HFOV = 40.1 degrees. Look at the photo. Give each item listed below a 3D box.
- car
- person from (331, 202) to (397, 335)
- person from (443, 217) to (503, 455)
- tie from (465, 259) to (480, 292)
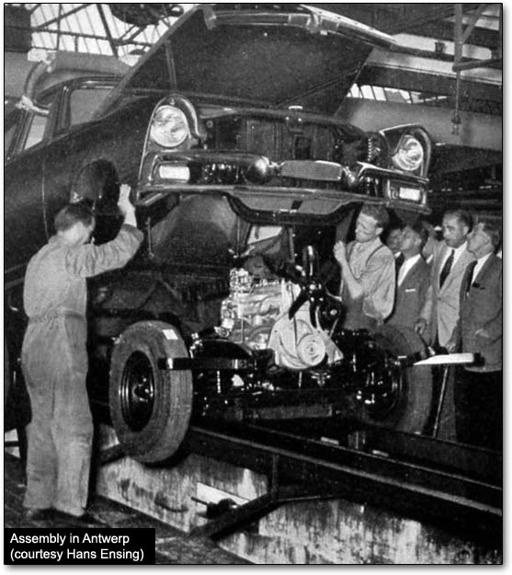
[{"bbox_3d":[-0.281,-0.108,3.968,1.264,1.659,2.319,2,-9,-23],"label":"car"},{"bbox_3d":[0.495,-0.090,3.275,0.219,0.902,0.372,-5,10,-28],"label":"person"},{"bbox_3d":[1.054,0.225,3.292,0.234,1.061,0.103,1,3,-3],"label":"person"},{"bbox_3d":[1.026,-0.050,3.312,0.060,0.142,0.029,6,8,-7],"label":"tie"}]
